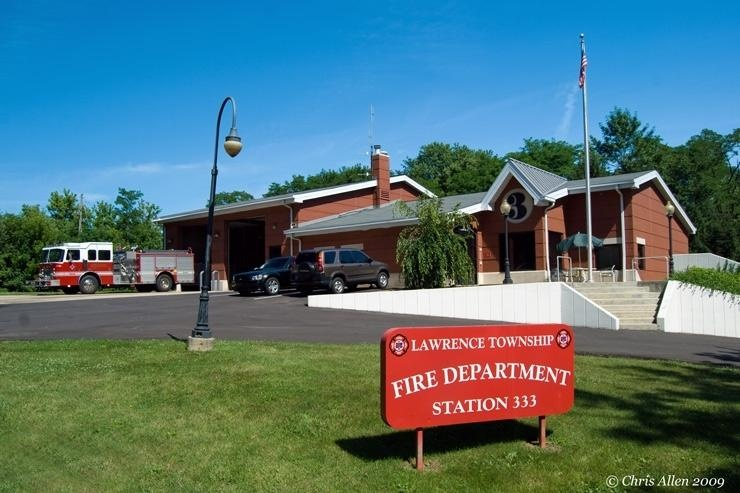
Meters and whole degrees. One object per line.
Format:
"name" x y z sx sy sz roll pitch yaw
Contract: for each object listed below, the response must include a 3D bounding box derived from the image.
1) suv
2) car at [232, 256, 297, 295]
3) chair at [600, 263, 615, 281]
"suv" -1.243 1.092 29.576 4.477 1.938 2.398 2 -4 -41
"car" -4.441 1.441 30.685 2.042 2.012 4.810 -2 -2 16
"chair" 10.617 1.234 30.052 0.734 0.644 1.898 -1 -3 20
